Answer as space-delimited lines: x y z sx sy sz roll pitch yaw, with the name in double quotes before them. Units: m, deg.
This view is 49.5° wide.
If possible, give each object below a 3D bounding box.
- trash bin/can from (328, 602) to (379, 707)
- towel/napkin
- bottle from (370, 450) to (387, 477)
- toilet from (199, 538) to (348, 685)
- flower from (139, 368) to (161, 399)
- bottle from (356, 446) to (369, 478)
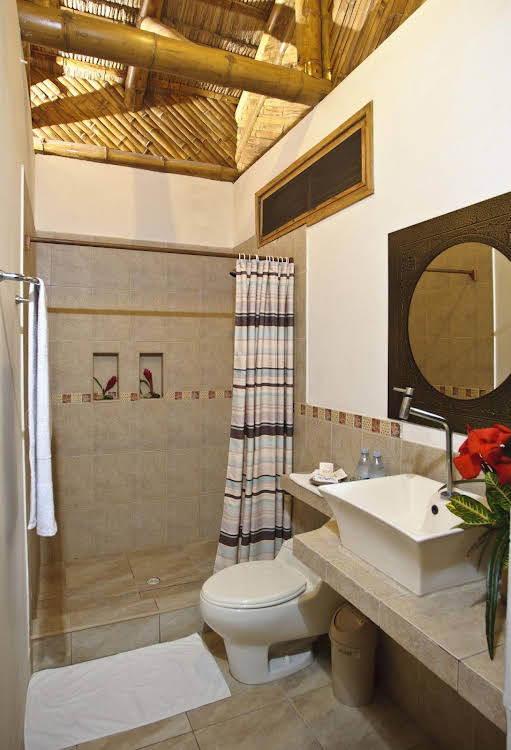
"trash bin/can" 0.361 1.016 2.057 0.175 0.300 0.223 -2 6 8
"towel/napkin" -0.620 0.089 1.568 0.063 0.708 0.186 -4 6 -11
"bottle" 0.437 0.315 1.995 0.054 0.093 0.103 -1 6 14
"toilet" 0.058 0.933 2.232 0.525 0.546 0.383 -5 10 -16
"flower" -0.664 0.051 3.473 0.124 0.178 0.102 -4 6 -12
"bottle" 0.400 0.328 2.059 0.042 0.110 0.123 -1 6 12
